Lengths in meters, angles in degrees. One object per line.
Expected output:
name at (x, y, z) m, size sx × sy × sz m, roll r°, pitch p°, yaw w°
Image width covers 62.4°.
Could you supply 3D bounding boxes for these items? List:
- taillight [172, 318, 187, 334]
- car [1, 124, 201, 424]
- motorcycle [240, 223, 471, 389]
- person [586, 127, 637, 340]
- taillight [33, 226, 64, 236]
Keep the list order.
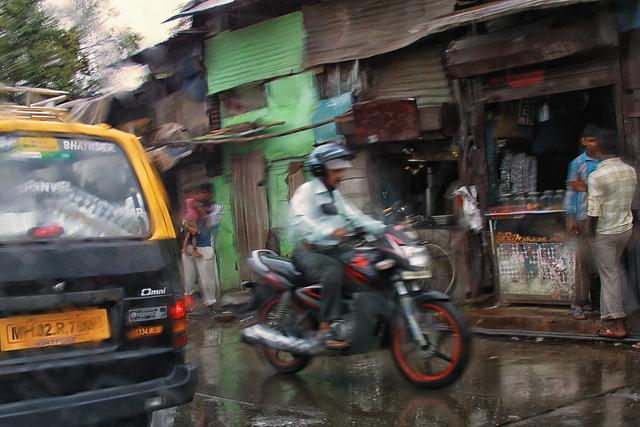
taillight at (-1.216, 0.972, 4.546) m, size 0.022 × 0.091 × 0.163 m, roll -14°, pitch -2°, yaw 20°
car at (-1.931, 0.441, 4.370) m, size 1.446 × 2.448 × 0.762 m, roll -10°, pitch 8°, yaw -22°
motorcycle at (0.242, 0.948, 5.590) m, size 2.632 × 1.380 × 0.976 m, roll -5°, pitch -8°, yaw 35°
person at (3.442, 0.209, 6.221) m, size 0.501 × 2.408 × 0.859 m, roll -3°, pitch 8°, yaw 31°
taillight at (-2.194, 0.142, 4.281) m, size 0.207 × 0.072 × 0.041 m, roll -8°, pitch 7°, yaw -25°
